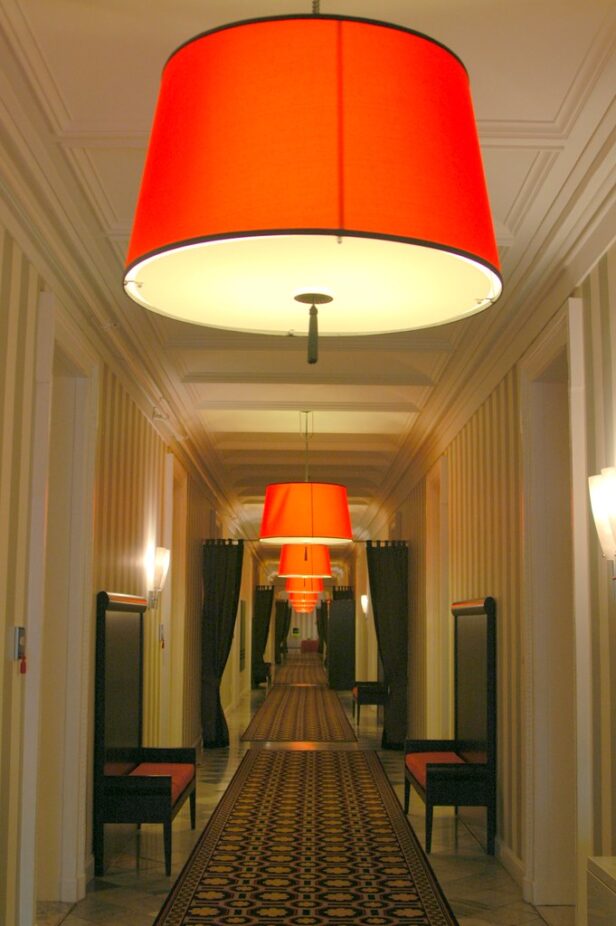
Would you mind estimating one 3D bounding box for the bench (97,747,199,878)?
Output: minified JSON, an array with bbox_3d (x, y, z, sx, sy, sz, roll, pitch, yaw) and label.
[{"bbox_3d":[-1.198,2.581,5.533,0.572,0.819,1.714,0,-14,-4],"label":"bench"}]
